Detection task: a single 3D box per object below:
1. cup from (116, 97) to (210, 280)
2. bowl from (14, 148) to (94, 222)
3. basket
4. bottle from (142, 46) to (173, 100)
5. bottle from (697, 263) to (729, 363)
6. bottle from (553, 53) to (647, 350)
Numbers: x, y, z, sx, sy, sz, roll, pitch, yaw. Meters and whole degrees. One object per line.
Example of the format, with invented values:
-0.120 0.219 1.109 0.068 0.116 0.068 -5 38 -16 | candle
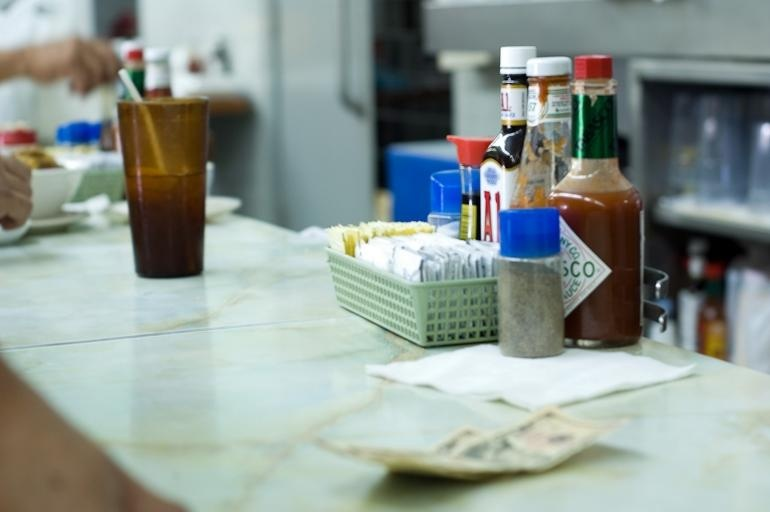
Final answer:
-0.301 -0.091 1.087 0.117 0.248 0.060 -5 11 -18 | cup
-0.578 -0.122 1.395 0.135 0.083 0.131 3 3 0 | bowl
0.031 0.043 0.923 0.104 0.052 0.155 -4 8 -27 | basket
-0.371 -0.295 1.264 0.044 0.080 0.119 -5 11 -15 | bottle
1.024 0.161 2.404 0.091 0.280 0.177 2 11 22 | bottle
0.235 -0.055 0.846 0.105 0.311 0.049 -1 11 8 | bottle
